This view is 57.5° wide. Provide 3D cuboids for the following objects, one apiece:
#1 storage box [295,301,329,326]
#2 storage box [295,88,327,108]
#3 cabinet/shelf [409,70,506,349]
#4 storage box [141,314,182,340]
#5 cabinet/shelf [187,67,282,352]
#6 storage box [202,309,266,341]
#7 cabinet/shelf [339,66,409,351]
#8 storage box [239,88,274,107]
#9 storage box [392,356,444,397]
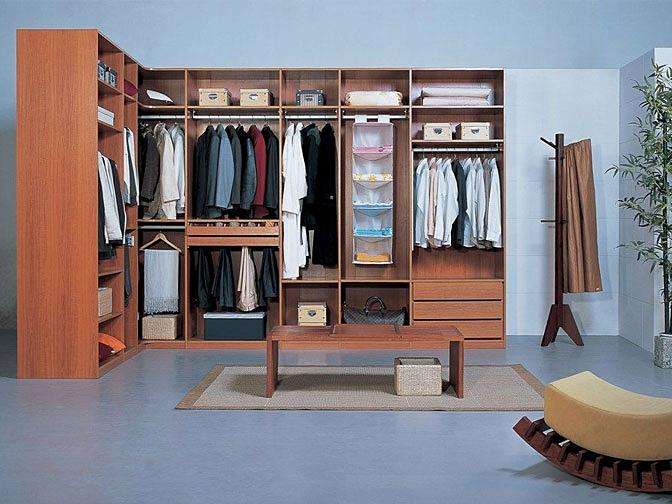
[{"bbox_3d":[-0.282,0.693,6.900,0.299,0.283,0.241,0,0,2],"label":"storage box"},{"bbox_3d":[-0.303,-1.752,6.956,0.266,0.186,0.277,0,5,-2],"label":"storage box"},{"bbox_3d":[1.343,-0.396,7.326,1.094,3.005,0.716,6,-19,-10],"label":"cabinet/shelf"},{"bbox_3d":[-1.990,0.851,6.761,0.294,0.192,0.301,0,0,-1],"label":"storage box"},{"bbox_3d":[-1.211,-0.409,6.878,0.894,2.470,0.512,1,-4,-19],"label":"cabinet/shelf"},{"bbox_3d":[-1.137,0.831,6.852,0.678,0.335,0.160,-3,3,-9],"label":"storage box"},{"bbox_3d":[0.466,-0.487,7.147,0.690,3.005,0.432,1,16,11],"label":"cabinet/shelf"},{"bbox_3d":[-0.915,-1.733,6.888,0.217,0.160,0.311,0,6,-1],"label":"storage box"},{"bbox_3d":[0.693,1.072,5.314,0.315,0.210,0.328,0,-2,1],"label":"storage box"}]
